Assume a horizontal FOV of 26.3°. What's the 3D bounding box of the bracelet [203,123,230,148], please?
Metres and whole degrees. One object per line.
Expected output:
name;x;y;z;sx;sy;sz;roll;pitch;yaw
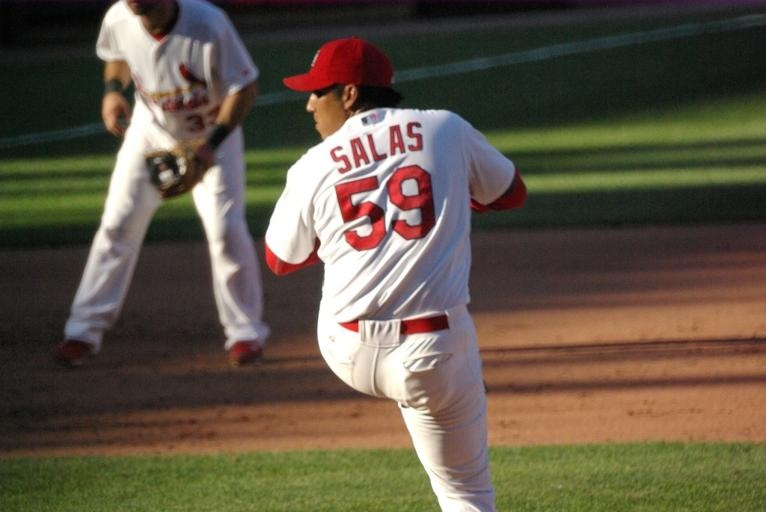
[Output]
bracelet;-1.474;-1.057;14.567;0.136;0.224;0.121;32;-24;27

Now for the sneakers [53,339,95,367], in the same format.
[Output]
sneakers;-2.821;0.884;15.010;0.237;0.187;0.457;24;-18;5

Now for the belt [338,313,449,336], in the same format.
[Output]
belt;0.135;0.559;13.357;0.797;0.171;0.075;0;0;-2

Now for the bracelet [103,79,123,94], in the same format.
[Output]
bracelet;-2.451;-1.530;14.937;0.153;0.098;0.138;5;-17;-9

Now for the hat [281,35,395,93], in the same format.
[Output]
hat;-0.388;-1.602;13.673;1.012;0.403;0.570;-2;12;-12
